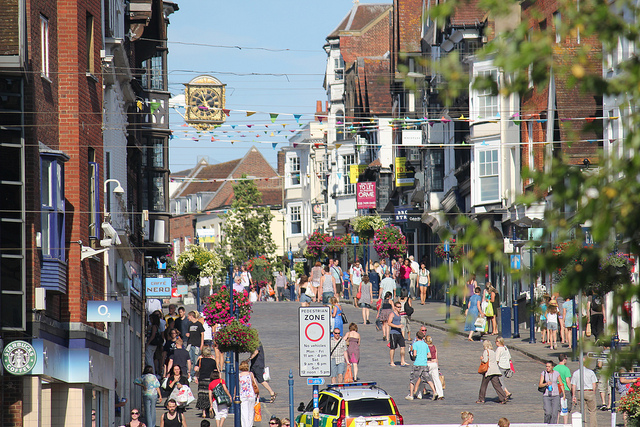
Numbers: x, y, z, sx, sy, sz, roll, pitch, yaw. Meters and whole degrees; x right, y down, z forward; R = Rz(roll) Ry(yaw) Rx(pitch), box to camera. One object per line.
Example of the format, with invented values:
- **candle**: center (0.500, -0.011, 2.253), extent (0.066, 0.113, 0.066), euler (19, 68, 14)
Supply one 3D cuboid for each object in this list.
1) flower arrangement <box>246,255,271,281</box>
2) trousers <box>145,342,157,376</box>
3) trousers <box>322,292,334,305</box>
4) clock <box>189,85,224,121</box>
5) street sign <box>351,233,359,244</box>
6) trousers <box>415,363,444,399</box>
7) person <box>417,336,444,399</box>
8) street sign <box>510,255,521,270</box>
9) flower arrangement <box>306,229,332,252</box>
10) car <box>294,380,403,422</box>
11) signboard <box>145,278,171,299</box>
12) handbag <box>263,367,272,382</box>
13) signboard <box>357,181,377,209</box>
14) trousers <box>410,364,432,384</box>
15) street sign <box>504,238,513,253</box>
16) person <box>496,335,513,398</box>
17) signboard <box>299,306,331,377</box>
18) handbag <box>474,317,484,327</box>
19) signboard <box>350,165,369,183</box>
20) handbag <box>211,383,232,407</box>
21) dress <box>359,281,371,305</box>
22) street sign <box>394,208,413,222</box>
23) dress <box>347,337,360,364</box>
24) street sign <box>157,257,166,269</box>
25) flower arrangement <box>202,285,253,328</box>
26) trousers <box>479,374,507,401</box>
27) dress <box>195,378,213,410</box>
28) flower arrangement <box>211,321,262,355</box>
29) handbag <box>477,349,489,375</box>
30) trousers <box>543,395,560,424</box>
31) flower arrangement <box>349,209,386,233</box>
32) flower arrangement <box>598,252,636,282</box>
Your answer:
- **flower arrangement**: center (-4.066, 3.521, 117.664), extent (1.363, 1.270, 1.381), euler (-17, -35, 1)
- **trousers**: center (-5.959, 5.319, 66.885), extent (0.403, 1.086, 1.101), euler (-1, -4, -5)
- **trousers**: center (0.253, 3.503, 75.877), extent (0.468, 0.493, 0.462), euler (1, -3, -16)
- **clock**: center (-4.534, -4.479, 75.354), extent (1.381, 1.604, 2.352), euler (-1, -4, -3)
- **street sign**: center (1.696, 1.341, 97.036), extent (0.560, 0.529, 0.135), euler (-2, -5, -4)
- **trousers**: center (3.505, 5.675, 62.256), extent (0.648, 1.201, 0.960), euler (0, -4, -21)
- **person**: center (3.622, 5.195, 61.830), extent (0.432, 2.113, 0.982), euler (-3, -4, 18)
- **street sign**: center (6.818, 1.800, 67.221), extent (0.453, 0.485, 0.040), euler (3, -8, -28)
- **flower arrangement**: center (-0.204, 1.530, 102.896), extent (1.187, 0.981, 1.068), euler (-1, 2, 16)
- **car**: center (1.003, 5.872, 56.918), extent (2.578, 1.165, 1.196), euler (-4, -5, 38)
- **signboard**: center (-6.246, 2.959, 72.769), extent (1.330, 1.115, 0.706), euler (0, -8, -2)
- **handbag**: center (-1.811, 5.539, 63.081), extent (0.272, 0.684, 0.687), euler (0, -5, 1)
- **signboard**: center (2.517, -1.040, 106.414), extent (1.032, 1.521, 0.956), euler (-1, -4, 1)
- **trousers**: center (3.198, 5.420, 62.006), extent (0.878, 0.691, 0.563), euler (2, -11, -8)
- **street sign**: center (7.090, 1.285, 72.514), extent (0.310, 0.538, 0.567), euler (-2, -2, 24)
- **person**: center (5.867, 4.881, 61.225), extent (0.426, 1.482, 1.125), euler (-2, -4, 9)
- **signboard**: center (-0.197, 3.757, 53.988), extent (0.866, 2.038, 0.413), euler (-1, -3, -1)
- **handbag**: center (5.654, 4.034, 68.464), extent (0.080, 0.297, 0.323), euler (25, -20, -38)
- **signboard**: center (2.290, -2.435, 113.684), extent (0.148, 1.217, 1.412), euler (-1, 0, -27)
- **handbag**: center (-3.110, 5.806, 59.096), extent (0.518, 0.683, 0.402), euler (-1, -4, -4)
- **dress**: center (1.708, 3.242, 74.919), extent (0.358, 0.910, 0.662), euler (-1, -4, -1)
- **street sign**: center (3.946, 0.095, 93.804), extent (1.055, 1.015, 0.574), euler (2, -43, 3)
- **dress**: center (1.039, 4.718, 63.363), extent (0.362, 0.866, 0.526), euler (-1, -4, -1)
- **street sign**: center (-7.354, 2.387, 87.075), extent (0.511, 0.467, 0.122), euler (-2, -4, 3)
- **flower arrangement**: center (-3.502, 3.604, 70.097), extent (1.693, 1.484, 1.646), euler (-1, -4, -6)
- **trousers**: center (5.508, 5.823, 61.442), extent (0.884, 0.884, 0.630), euler (-2, -4, 4)
- **dress**: center (-3.737, 5.997, 61.097), extent (0.368, 1.029, 0.984), euler (0, -4, -17)
- **flower arrangement**: center (-2.737, 4.169, 61.727), extent (1.492, 1.044, 0.755), euler (-1, -4, -3)
- **handbag**: center (5.185, 4.940, 61.141), extent (0.296, 0.812, 0.821), euler (-1, -4, -7)
- **trousers**: center (7.026, 6.212, 58.414), extent (0.489, 0.870, 0.688), euler (-2, -4, 11)
- **flower arrangement**: center (2.530, 0.480, 95.694), extent (1.143, 0.934, 2.529), euler (0, -4, -23)
- **flower arrangement**: center (7.927, 1.518, 51.378), extent (1.077, 0.742, 1.074), euler (-1, 3, 3)
